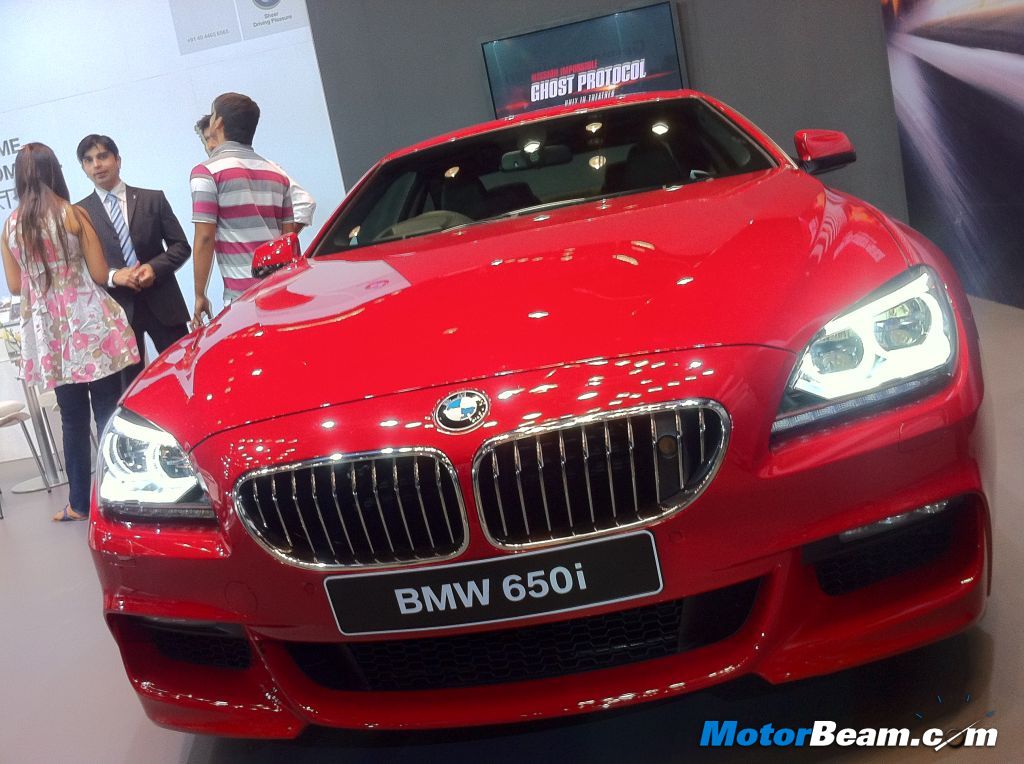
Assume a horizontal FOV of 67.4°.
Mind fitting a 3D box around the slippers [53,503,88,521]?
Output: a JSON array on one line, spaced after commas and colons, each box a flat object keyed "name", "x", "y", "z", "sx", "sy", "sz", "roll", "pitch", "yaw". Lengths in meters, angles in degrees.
[{"name": "slippers", "x": -2.062, "y": 0.612, "z": 3.610, "sx": 0.201, "sy": 0.094, "sz": 0.065, "roll": 7, "pitch": 5, "yaw": 25}]

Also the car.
[{"name": "car", "x": 0.043, "y": 0.044, "z": 1.695, "sx": 1.654, "sy": 0.782, "sz": 1.155, "roll": -10, "pitch": 20, "yaw": -1}]
